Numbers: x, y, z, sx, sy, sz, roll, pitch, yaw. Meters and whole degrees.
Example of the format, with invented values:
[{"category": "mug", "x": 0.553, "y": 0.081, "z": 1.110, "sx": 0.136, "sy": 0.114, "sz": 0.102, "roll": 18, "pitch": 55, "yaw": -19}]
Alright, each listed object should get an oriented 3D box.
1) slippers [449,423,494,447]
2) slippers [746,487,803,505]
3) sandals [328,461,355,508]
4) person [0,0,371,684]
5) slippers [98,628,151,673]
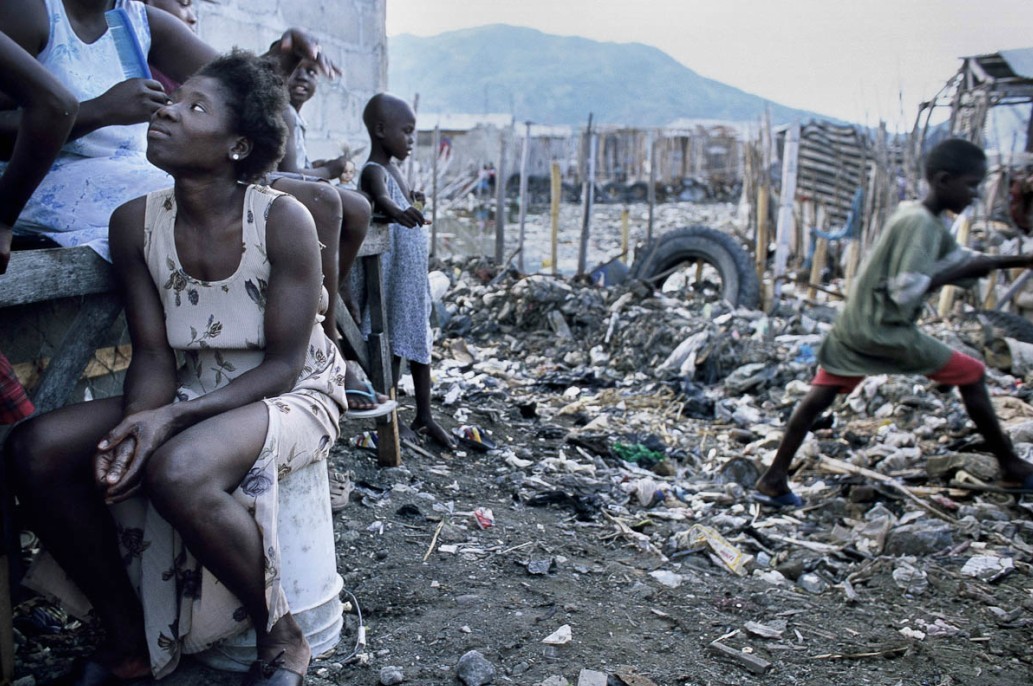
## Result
[{"category": "slippers", "x": -0.323, "y": 0.671, "z": 5.928, "sx": 0.158, "sy": 0.086, "sz": 0.206, "roll": 27, "pitch": 5, "yaw": -43}, {"category": "slippers", "x": 1.666, "y": 1.004, "z": 5.335, "sx": 0.274, "sy": 0.084, "sz": 0.120, "roll": 1, "pitch": 8, "yaw": 12}, {"category": "sandals", "x": -0.979, "y": 0.827, "z": 4.666, "sx": 0.138, "sy": 0.035, "sz": 0.328, "roll": 6, "pitch": 11, "yaw": -14}, {"category": "person", "x": -1.361, "y": 0.079, "z": 3.462, "sx": 1.262, "sy": 2.592, "sz": 0.811, "roll": 4, "pitch": 6, "yaw": -6}, {"category": "slippers", "x": -1.553, "y": 1.254, "z": 3.401, "sx": 0.188, "sy": 0.191, "sz": 0.146, "roll": 3, "pitch": 0, "yaw": 6}]
